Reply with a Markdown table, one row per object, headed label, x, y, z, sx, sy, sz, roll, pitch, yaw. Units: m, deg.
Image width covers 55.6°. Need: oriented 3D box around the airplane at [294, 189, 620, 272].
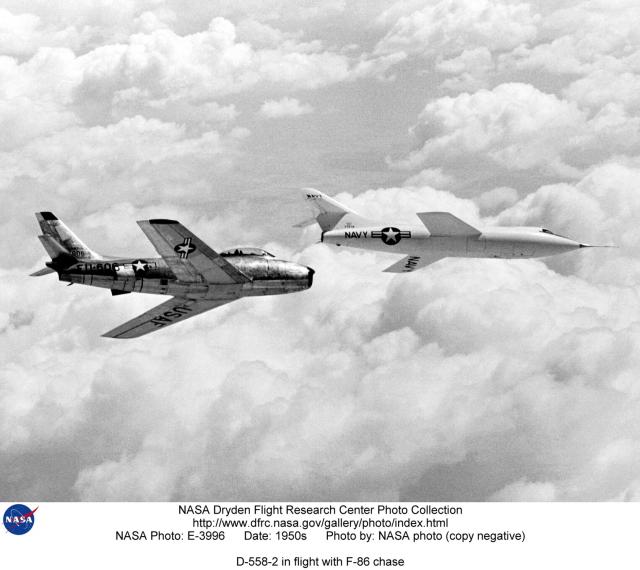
| label | x | y | z | sx | sy | sz | roll | pitch | yaw |
| --- | --- | --- | --- | --- | --- | --- | --- | --- | --- |
| airplane | 5.832 | -2.421 | 31.382 | 10.312 | 2.304 | 7.165 | -1 | -1 | 5 |
